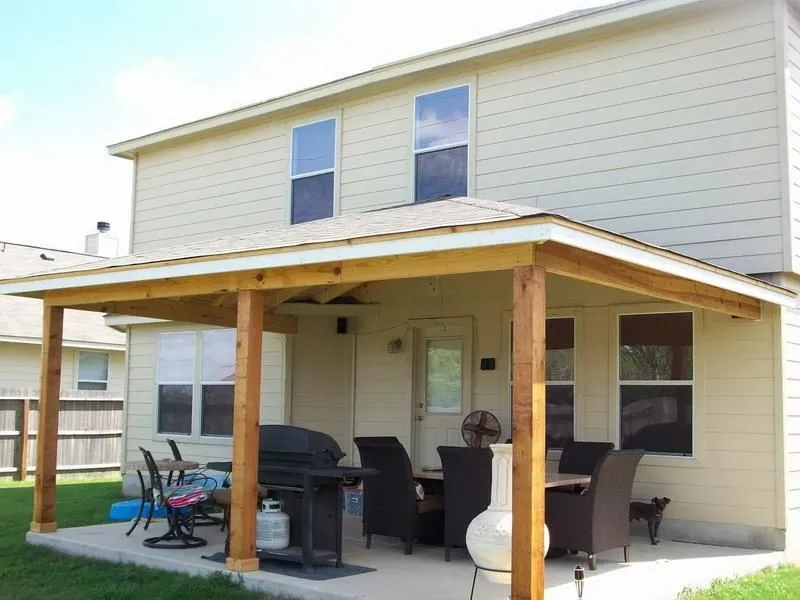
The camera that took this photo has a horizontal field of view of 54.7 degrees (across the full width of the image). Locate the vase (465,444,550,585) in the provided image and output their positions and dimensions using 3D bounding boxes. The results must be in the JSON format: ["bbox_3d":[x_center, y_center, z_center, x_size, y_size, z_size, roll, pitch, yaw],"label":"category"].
[{"bbox_3d":[0.878,1.949,7.190,0.480,1.197,0.428,-2,-4,28],"label":"vase"}]

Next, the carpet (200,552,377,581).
[{"bbox_3d":[-0.992,2.832,8.193,1.333,0.076,0.705,-1,-4,18],"label":"carpet"}]

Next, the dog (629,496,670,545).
[{"bbox_3d":[3.119,2.733,9.774,0.303,0.503,0.716,3,-5,-31],"label":"dog"}]

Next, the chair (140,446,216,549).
[{"bbox_3d":[-2.843,2.433,9.676,0.783,1.162,1.188,1,-4,-18],"label":"chair"}]

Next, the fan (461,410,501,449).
[{"bbox_3d":[1.172,1.848,11.208,0.593,0.520,0.140,-29,-14,25],"label":"fan"}]
